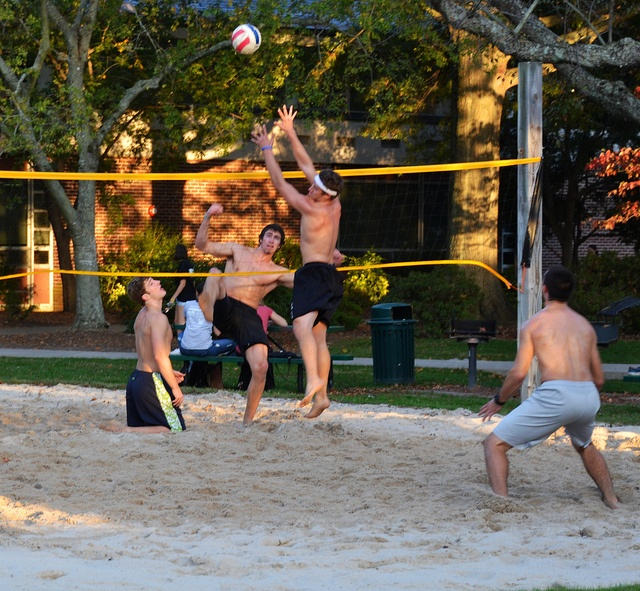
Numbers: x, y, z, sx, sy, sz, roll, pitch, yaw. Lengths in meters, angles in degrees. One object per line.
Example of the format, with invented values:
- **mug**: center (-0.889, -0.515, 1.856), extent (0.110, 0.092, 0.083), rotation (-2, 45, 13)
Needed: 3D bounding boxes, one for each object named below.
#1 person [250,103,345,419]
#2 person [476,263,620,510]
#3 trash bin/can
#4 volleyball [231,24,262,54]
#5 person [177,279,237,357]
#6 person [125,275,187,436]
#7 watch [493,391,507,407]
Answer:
- **person**: center (-0.116, -0.231, 11.446), extent (0.730, 2.912, 0.993), rotation (-3, 11, -23)
- **person**: center (1.831, 0.726, 9.898), extent (1.059, 1.833, 0.478), rotation (3, 10, 8)
- **trash bin/can**: center (0.860, 0.607, 15.533), extent (0.567, 0.958, 0.455), rotation (1, 10, -2)
- **volleyball**: center (-0.866, -2.899, 14.292), extent (0.312, 0.319, 0.396), rotation (3, 10, 9)
- **person**: center (-1.221, 0.278, 13.517), extent (0.689, 0.794, 0.481), rotation (12, 18, 30)
- **person**: center (-1.523, 0.542, 11.592), extent (0.523, 1.354, 0.467), rotation (0, 10, -9)
- **watch**: center (1.410, 0.835, 10.024), extent (0.096, 0.070, 0.098), rotation (4, 7, 12)
